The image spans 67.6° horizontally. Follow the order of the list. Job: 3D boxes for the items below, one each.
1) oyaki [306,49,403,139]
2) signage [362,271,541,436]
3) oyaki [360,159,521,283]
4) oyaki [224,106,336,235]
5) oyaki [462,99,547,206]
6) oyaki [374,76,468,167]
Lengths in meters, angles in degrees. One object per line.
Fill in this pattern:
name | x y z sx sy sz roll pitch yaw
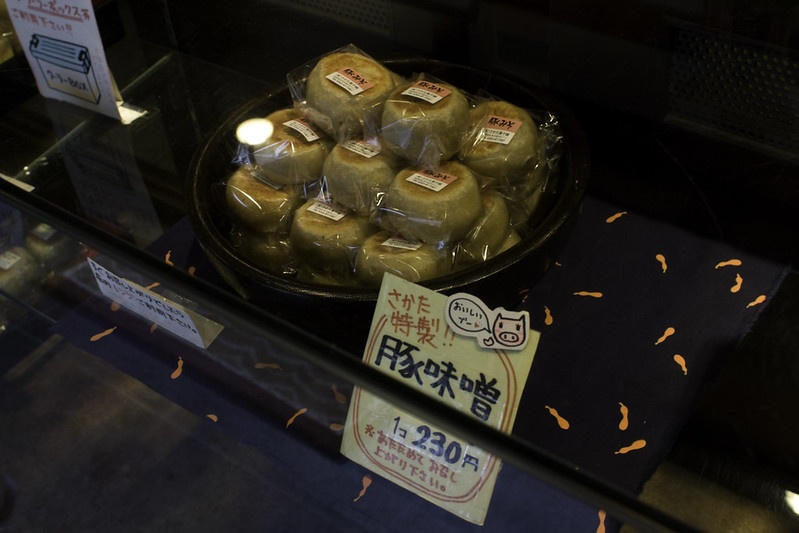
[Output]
oyaki | -0.077 -0.271 1.030 0.140 0.068 0.140 43 53 11
signage | 0.064 0.106 0.781 0.215 0.112 0.104 18 55 10
oyaki | 0.054 -0.067 0.897 0.206 0.075 0.156 -33 61 -16
oyaki | -0.196 -0.152 0.977 0.175 0.065 0.183 -22 61 10
oyaki | 0.157 -0.171 1.008 0.140 0.056 0.141 -36 78 -26
oyaki | 0.033 -0.234 0.934 0.126 0.075 0.129 33 64 22
